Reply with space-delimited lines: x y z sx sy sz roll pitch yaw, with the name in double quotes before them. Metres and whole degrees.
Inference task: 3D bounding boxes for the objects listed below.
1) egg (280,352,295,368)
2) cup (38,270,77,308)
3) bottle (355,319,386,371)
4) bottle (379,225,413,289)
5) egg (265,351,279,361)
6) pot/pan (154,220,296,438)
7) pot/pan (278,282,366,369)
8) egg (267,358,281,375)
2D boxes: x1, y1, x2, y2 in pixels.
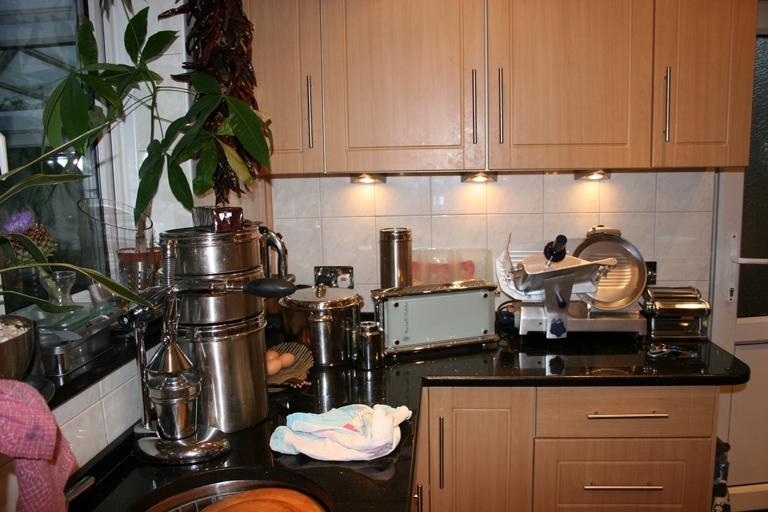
"egg" -0.378 0.403 2.559 0.042 0.040 0.056 -3 -10 -2
"cup" -1.030 0.107 2.084 0.107 0.118 0.112 -1 6 0
"bottle" -0.040 0.352 2.645 0.143 0.187 0.073 -8 8 -33
"bottle" 0.054 0.008 3.005 0.139 0.265 0.127 -3 7 0
"egg" -0.435 0.382 2.546 0.059 0.020 0.057 -1 6 -15
"pot/pan" -0.563 0.247 2.082 0.388 0.669 0.175 -6 8 -21
"pot/pan" -0.220 0.252 2.739 0.325 0.273 0.323 5 13 20
"egg" -0.418 0.425 2.495 0.047 0.046 0.062 -2 -6 -7
